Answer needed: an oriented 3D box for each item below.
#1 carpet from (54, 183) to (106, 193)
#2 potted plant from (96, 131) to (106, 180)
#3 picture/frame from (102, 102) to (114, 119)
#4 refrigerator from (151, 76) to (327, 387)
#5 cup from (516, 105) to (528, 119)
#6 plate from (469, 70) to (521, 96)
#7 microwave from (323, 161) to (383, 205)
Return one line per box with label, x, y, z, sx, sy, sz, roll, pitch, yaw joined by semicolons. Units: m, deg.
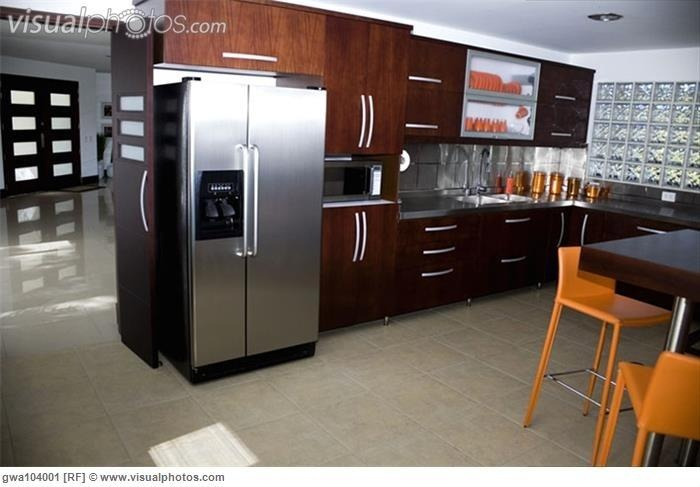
carpet;-6.299;-1.308;11.424;0.836;0.036;1.478;0;13;-5
potted plant;-6.901;-2.450;13.482;0.275;1.185;0.700;-6;15;-27
picture/frame;-7.045;-3.882;14.064;0.194;0.426;0.339;1;13;0
refrigerator;-0.800;-0.096;3.568;1.287;2.092;0.505;-3;14;-16
cup;1.873;-1.421;5.245;0.096;0.150;0.148;25;32;29
plate;1.464;-1.591;4.944;0.398;0.116;0.273;-2;24;-31
microwave;0.007;-0.524;4.064;0.534;0.338;0.351;-9;19;-32
